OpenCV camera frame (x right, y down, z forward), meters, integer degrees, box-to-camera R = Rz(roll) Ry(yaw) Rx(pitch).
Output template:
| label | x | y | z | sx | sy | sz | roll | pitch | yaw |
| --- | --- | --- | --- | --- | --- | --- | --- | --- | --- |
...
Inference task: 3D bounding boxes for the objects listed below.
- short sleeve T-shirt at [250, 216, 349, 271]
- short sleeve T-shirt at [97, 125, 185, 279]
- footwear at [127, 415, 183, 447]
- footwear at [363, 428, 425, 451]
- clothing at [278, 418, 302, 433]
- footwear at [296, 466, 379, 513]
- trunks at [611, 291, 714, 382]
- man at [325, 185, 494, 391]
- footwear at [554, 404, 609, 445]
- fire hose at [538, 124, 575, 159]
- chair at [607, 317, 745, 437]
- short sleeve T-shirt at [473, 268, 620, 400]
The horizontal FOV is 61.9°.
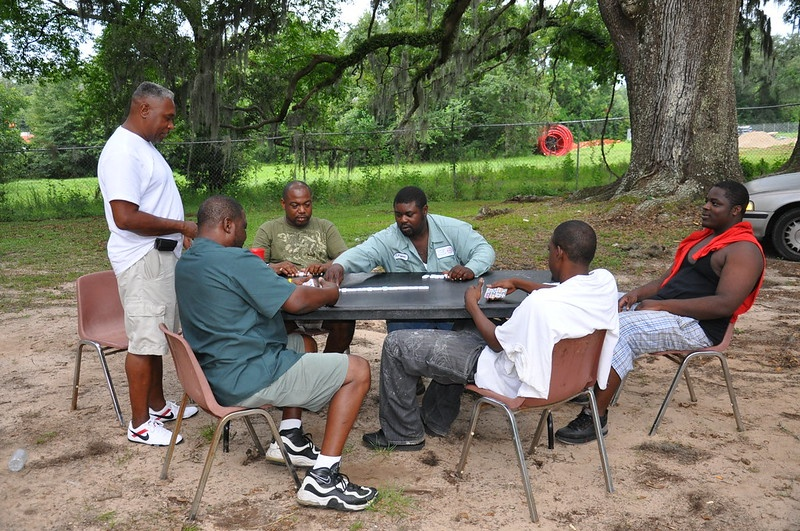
| label | x | y | z | sx | sy | sz | roll | pitch | yaw |
| --- | --- | --- | --- | --- | --- | --- | --- | --- | --- |
| short sleeve T-shirt | -1.099 | -0.266 | 7.383 | 0.715 | 0.314 | 0.735 | 5 | 13 | 16 |
| short sleeve T-shirt | -2.482 | -0.616 | 6.521 | 0.759 | 1.332 | 1.238 | 1 | 13 | -2 |
| footwear | -2.307 | 1.540 | 6.310 | 0.620 | 0.256 | 0.250 | 4 | 6 | -3 |
| footwear | -0.040 | 1.612 | 6.199 | 0.567 | 0.214 | 0.205 | 3 | -1 | 8 |
| clothing | -0.966 | 1.376 | 5.834 | 0.181 | 0.113 | 0.093 | -9 | 9 | -19 |
| footwear | -0.533 | 1.825 | 5.552 | 0.770 | 0.402 | 0.287 | 4 | 1 | -7 |
| trunks | 2.391 | 0.641 | 6.195 | 0.853 | 0.275 | 0.667 | -1 | 14 | -9 |
| man | 0.077 | 0.208 | 6.834 | 1.805 | 1.827 | 1.160 | -10 | 13 | -22 |
| footwear | 1.672 | 1.486 | 6.258 | 0.601 | 0.280 | 0.238 | -6 | 8 | -10 |
| fire hose | 4.961 | -3.975 | 21.339 | 0.849 | 1.036 | 2.507 | 0 | 8 | 9 |
| chair | 2.717 | 1.128 | 6.910 | 1.240 | 1.650 | 1.070 | 1 | 1 | -4 |
| short sleeve T-shirt | 1.318 | 0.590 | 5.689 | 1.143 | 1.158 | 0.702 | -9 | 28 | -25 |
